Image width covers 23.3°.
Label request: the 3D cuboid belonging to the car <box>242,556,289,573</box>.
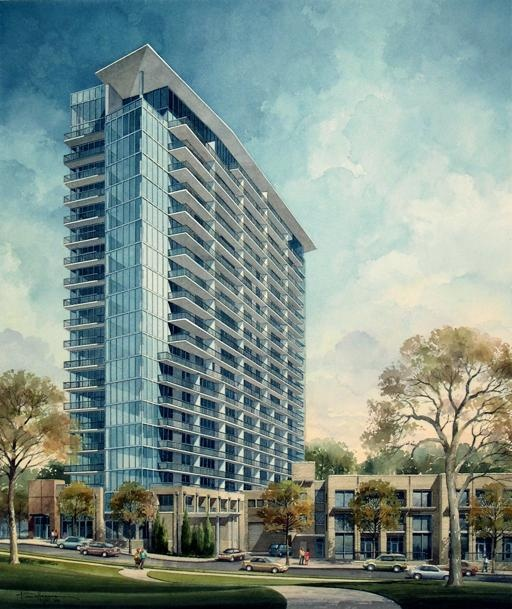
[{"bbox_3d":[0.708,25.510,121.644,4.098,1.130,1.782,-6,-17,18],"label":"car"}]

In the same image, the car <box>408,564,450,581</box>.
[{"bbox_3d":[16.320,25.574,118.639,3.437,0.935,1.506,-3,-9,7],"label":"car"}]

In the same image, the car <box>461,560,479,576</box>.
[{"bbox_3d":[21.272,26.601,124.908,1.443,1.736,8.453,-3,-15,9],"label":"car"}]

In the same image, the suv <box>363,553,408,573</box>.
[{"bbox_3d":[13.252,26.527,127.772,3.269,1.153,1.816,1,-23,7],"label":"suv"}]

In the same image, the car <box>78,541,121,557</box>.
[{"bbox_3d":[-15.858,24.244,123.022,3.145,0.941,1.597,-2,-11,7],"label":"car"}]

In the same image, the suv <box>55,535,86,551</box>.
[{"bbox_3d":[-19.302,24.656,128.757,3.066,0.793,1.298,0,-34,9],"label":"suv"}]

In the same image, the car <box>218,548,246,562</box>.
[{"bbox_3d":[-2.778,26.423,131.261,2.213,1.486,3.794,-2,-15,8],"label":"car"}]
